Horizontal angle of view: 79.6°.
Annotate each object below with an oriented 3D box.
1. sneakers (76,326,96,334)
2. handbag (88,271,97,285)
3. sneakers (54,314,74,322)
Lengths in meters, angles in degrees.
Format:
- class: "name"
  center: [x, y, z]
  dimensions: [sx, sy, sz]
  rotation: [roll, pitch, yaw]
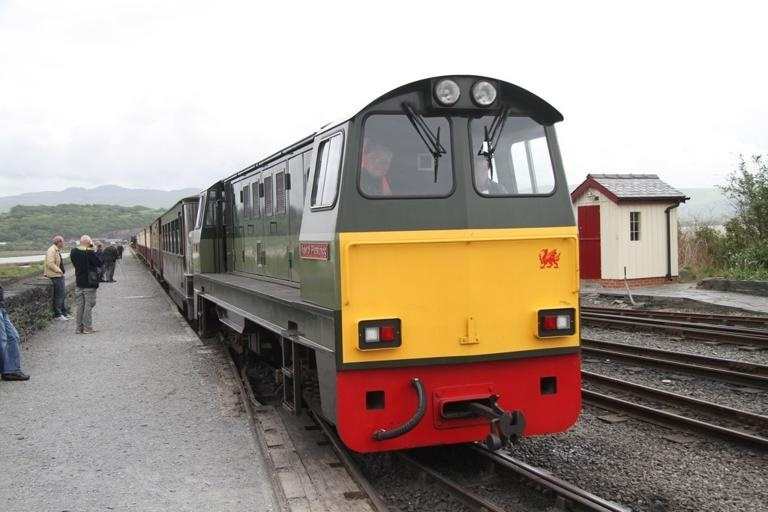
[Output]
- class: "sneakers"
  center: [-7.960, 1.983, 12.357]
  dimensions: [0.467, 0.204, 0.203]
  rotation: [-3, 6, -29]
- class: "handbag"
  center: [-7.435, 0.555, 11.847]
  dimensions: [0.257, 0.362, 0.153]
  rotation: [-1, 2, -1]
- class: "sneakers"
  center: [-9.960, 1.936, 14.355]
  dimensions: [0.498, 0.197, 0.166]
  rotation: [-1, -2, 14]
